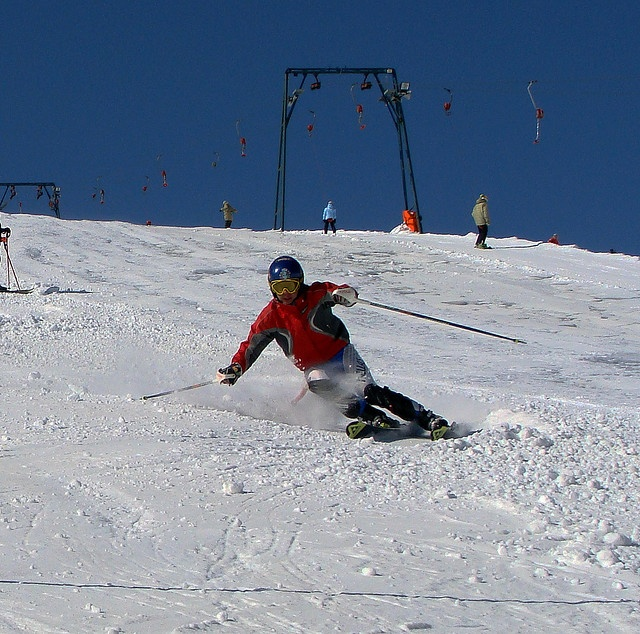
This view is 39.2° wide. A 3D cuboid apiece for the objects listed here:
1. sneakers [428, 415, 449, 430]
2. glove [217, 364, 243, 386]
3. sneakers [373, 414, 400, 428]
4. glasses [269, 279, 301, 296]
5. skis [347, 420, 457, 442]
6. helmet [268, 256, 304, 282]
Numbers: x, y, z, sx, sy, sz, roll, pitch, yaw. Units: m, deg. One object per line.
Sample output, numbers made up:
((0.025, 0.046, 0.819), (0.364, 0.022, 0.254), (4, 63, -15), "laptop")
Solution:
((0.810, 0.726, 6.243), (0.118, 0.103, 0.086), (-27, 23, -10), "sneakers")
((-0.666, 0.431, 6.609), (0.179, 0.164, 0.137), (-1, 32, -5), "glove")
((0.481, 0.748, 6.592), (0.163, 0.063, 0.108), (10, 5, 9), "sneakers")
((-0.259, -0.223, 6.566), (0.224, 0.166, 0.109), (1, 32, -2), "glasses")
((0.564, 0.838, 6.435), (0.777, 0.220, 0.117), (5, 39, -6), "skis")
((-0.255, -0.359, 6.574), (0.239, 0.204, 0.233), (1, 31, -1), "helmet")
